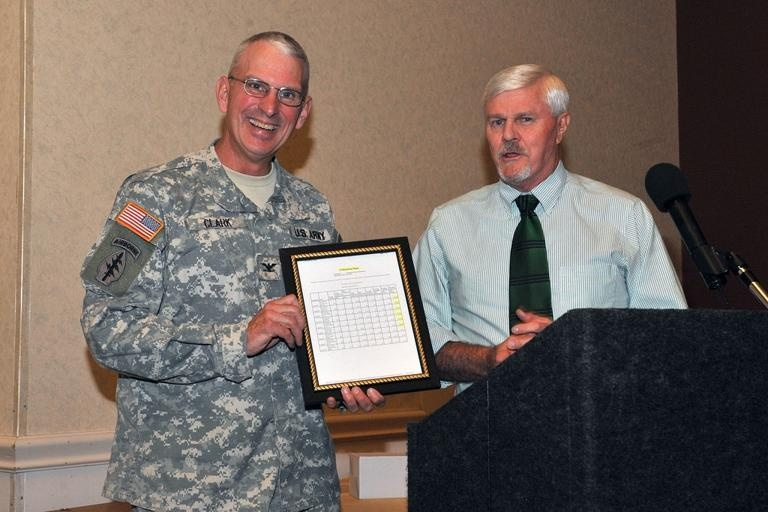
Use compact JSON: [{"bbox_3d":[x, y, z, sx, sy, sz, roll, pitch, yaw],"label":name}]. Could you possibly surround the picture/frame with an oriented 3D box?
[{"bbox_3d":[-0.109,0.231,2.735,0.641,0.676,0.051,-8,-16,-14],"label":"picture/frame"}]
